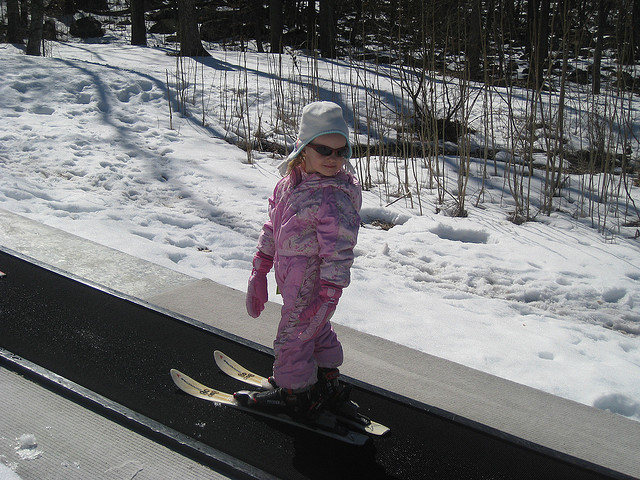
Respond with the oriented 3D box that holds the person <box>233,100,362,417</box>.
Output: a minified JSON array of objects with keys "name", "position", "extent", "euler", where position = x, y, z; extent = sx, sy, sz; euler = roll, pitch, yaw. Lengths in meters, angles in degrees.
[{"name":"person","position":[-0.071,0.115,3.450],"extent":[0.597,1.690,0.454],"euler":[3,16,3]}]

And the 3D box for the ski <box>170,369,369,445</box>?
[{"name":"ski","position":[-0.290,0.947,3.489],"extent":[1.151,0.093,0.122],"euler":[14,32,17]}]

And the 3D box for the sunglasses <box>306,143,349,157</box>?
[{"name":"sunglasses","position":[0.043,-0.474,3.364],"extent":[0.225,0.060,0.055],"euler":[2,16,-4]}]
